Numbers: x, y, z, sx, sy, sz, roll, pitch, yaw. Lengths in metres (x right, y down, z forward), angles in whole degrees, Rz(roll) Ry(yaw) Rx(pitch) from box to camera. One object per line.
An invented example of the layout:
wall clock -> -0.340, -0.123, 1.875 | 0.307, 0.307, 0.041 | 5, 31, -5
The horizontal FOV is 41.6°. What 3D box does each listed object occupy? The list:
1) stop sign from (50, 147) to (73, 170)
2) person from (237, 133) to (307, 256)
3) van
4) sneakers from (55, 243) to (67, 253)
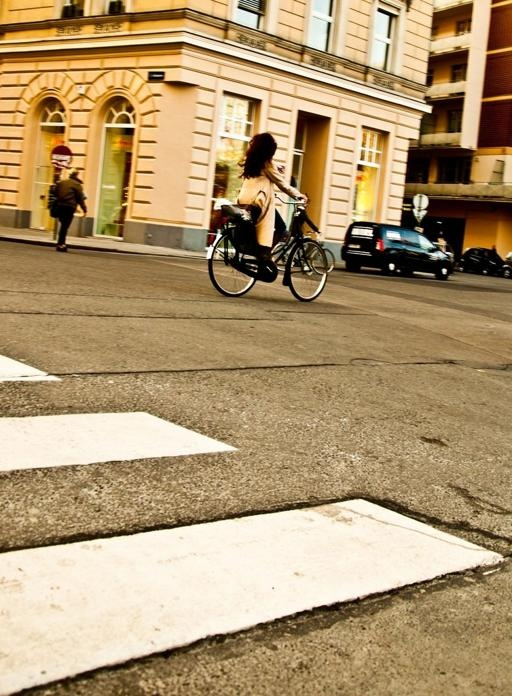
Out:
stop sign -> -5.896, -5.761, 20.316 | 0.494, 0.650, 0.523 | 6, 8, -23
person -> 0.117, -2.119, 9.287 | 0.717, 1.654, 0.579 | 8, 7, -12
van -> 5.447, -3.817, 26.162 | 3.800, 1.643, 2.083 | -4, 13, -32
sneakers -> -4.905, -2.499, 16.934 | 0.270, 0.195, 0.605 | -12, 10, -10
